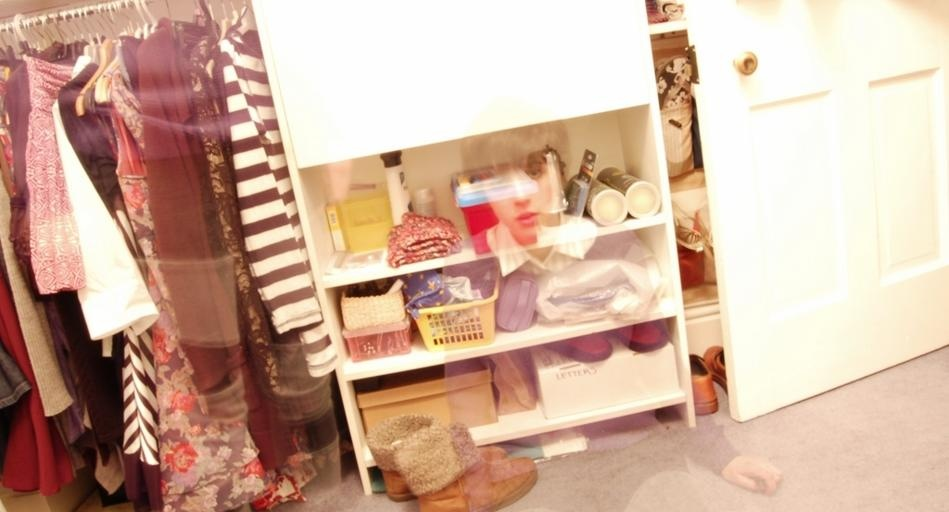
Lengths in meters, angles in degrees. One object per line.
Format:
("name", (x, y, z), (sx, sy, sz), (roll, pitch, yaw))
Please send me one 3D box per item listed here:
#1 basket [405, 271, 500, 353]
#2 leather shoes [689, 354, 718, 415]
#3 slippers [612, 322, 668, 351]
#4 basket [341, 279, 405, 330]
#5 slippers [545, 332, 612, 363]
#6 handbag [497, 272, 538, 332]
("basket", (-0.060, 0.198, 2.082), (0.288, 0.137, 0.188), (-6, 13, 5))
("leather shoes", (0.800, 0.462, 2.291), (0.119, 0.072, 0.201), (-10, 35, 1))
("slippers", (0.557, 0.262, 2.139), (0.223, 0.070, 0.083), (-5, 13, -21))
("basket", (-0.335, 0.167, 2.166), (0.188, 0.122, 0.230), (-11, 5, -6))
("slippers", (0.316, 0.294, 2.098), (0.249, 0.078, 0.083), (-2, 25, -3))
("handbag", (0.129, 0.152, 2.018), (0.130, 0.159, 0.095), (14, 4, -28))
